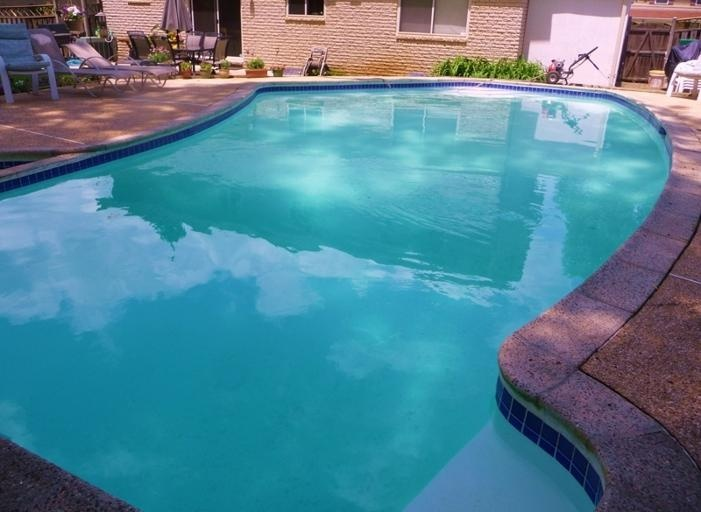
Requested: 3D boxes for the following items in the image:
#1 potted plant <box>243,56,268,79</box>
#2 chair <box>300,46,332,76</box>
[{"bbox_3d":[-2.782,-5.485,12.815,0.566,0.485,0.360,-8,30,-19],"label":"potted plant"},{"bbox_3d":[-1.111,-6.244,14.032,0.780,0.783,1.704,1,27,-2],"label":"chair"}]
